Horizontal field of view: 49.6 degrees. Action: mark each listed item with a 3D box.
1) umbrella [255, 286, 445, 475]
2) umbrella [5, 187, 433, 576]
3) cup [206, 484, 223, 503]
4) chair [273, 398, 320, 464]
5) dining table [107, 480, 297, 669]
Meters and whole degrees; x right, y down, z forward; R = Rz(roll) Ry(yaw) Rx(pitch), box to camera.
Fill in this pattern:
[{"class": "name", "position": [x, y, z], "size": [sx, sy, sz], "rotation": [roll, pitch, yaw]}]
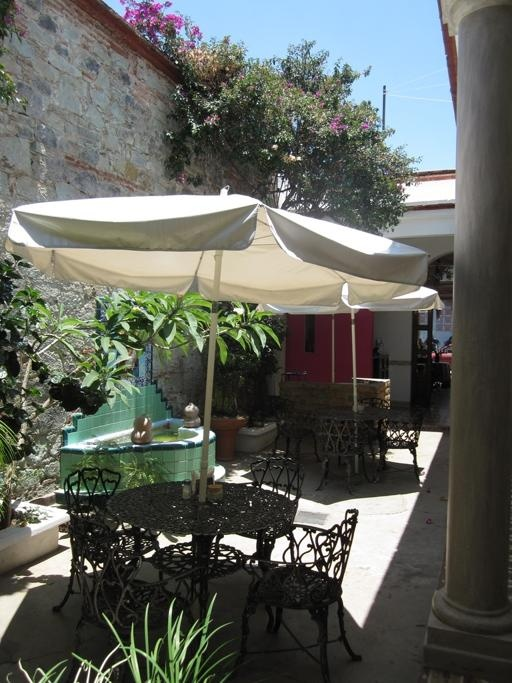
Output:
[{"class": "umbrella", "position": [1.224, 0.281, 6.784], "size": [2.199, 1.726, 2.024], "rotation": [-9, 12, -35]}, {"class": "umbrella", "position": [-0.179, -0.003, 2.892], "size": [2.029, 1.642, 1.929], "rotation": [-1, 1, 9]}, {"class": "cup", "position": [-0.213, 0.791, 2.895], "size": [0.079, 0.048, 0.076], "rotation": [0, 8, 0]}, {"class": "chair", "position": [0.552, 1.193, 7.102], "size": [0.664, 0.898, 0.702], "rotation": [2, -4, -44]}, {"class": "dining table", "position": [-0.266, 1.050, 2.855], "size": [0.921, 0.471, 0.861], "rotation": [5, 0, 0]}]
